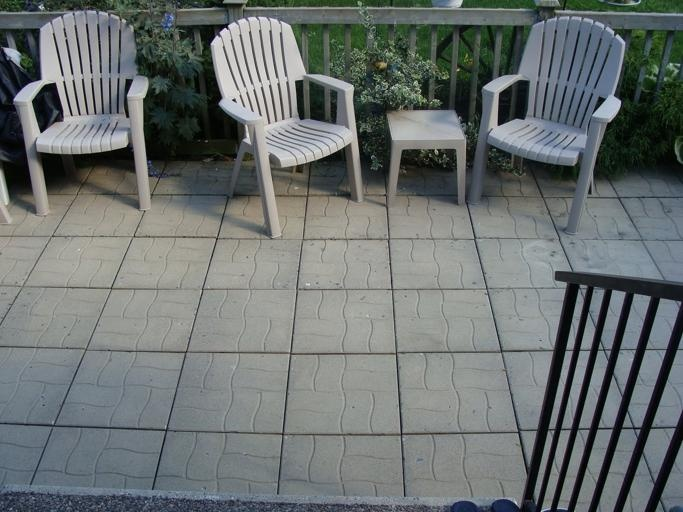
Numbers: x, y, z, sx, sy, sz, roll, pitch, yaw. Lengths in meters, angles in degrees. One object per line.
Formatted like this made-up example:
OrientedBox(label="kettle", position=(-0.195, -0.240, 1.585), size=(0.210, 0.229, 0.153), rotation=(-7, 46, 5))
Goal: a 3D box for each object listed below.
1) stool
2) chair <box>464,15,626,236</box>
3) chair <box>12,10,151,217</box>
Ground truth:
OrientedBox(label="stool", position=(0.610, -0.808, 4.574), size=(0.811, 0.589, 0.718), rotation=(0, 49, 2))
OrientedBox(label="chair", position=(1.633, -1.020, 4.345), size=(1.081, 1.197, 1.039), rotation=(-21, 45, -11))
OrientedBox(label="chair", position=(-2.004, -1.121, 4.464), size=(1.130, 1.239, 1.030), rotation=(16, 40, 15))
